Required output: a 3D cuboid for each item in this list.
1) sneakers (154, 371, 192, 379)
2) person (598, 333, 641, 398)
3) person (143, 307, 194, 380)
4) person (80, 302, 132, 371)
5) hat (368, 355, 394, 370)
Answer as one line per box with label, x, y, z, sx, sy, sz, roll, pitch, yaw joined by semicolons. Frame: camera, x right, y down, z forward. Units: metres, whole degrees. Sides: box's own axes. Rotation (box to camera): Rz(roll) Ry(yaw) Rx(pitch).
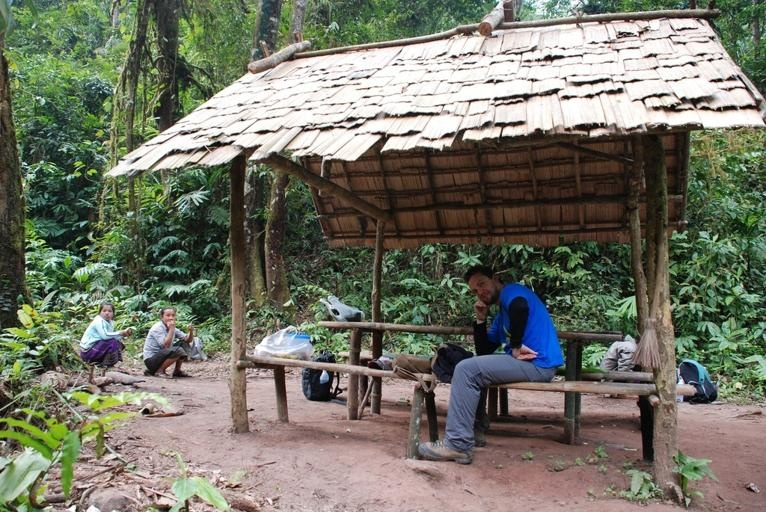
sneakers;-3.700;2.107;11.467;0.564;0.226;0.177;-4;-5;4
person;4.184;1.911;11.291;0.735;0.931;0.887;24;-5;21
person;-3.802;1.539;11.721;0.679;1.222;1.136;1;-2;4
person;-4.624;1.334;10.864;0.836;1.034;0.632;-1;1;-1
hat;-0.007;1.606;9.748;0.229;0.130;0.389;2;-11;25
